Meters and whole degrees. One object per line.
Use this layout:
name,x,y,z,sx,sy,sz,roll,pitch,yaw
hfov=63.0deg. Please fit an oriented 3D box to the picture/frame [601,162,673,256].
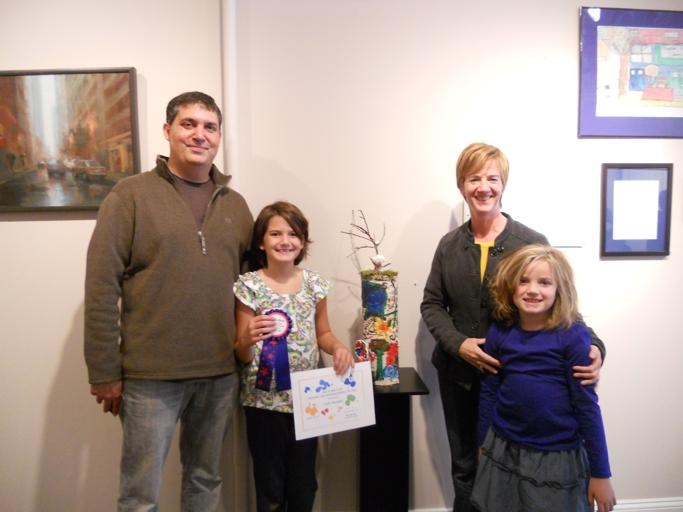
picture/frame,1.650,-0.284,3.141,0.525,0.691,0.034,0,3,-1
